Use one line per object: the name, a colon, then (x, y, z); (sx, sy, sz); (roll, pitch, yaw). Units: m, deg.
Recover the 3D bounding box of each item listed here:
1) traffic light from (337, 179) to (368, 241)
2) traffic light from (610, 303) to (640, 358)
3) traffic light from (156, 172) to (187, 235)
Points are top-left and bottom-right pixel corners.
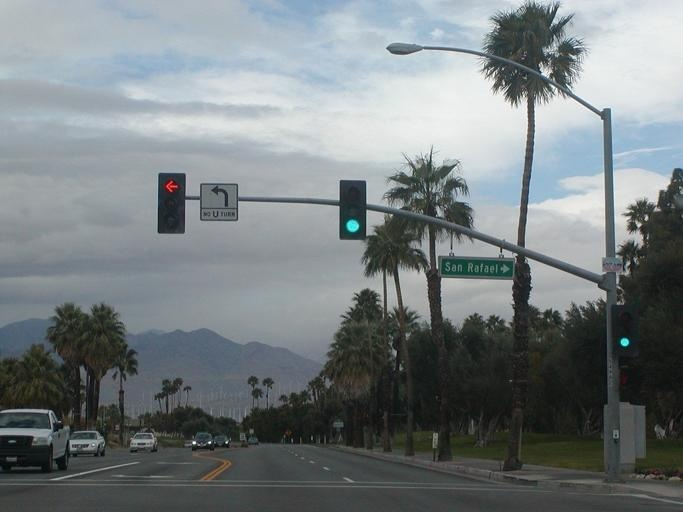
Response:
traffic light: (0.500, -2.047, 51.445); (1.198, 2.688, 0.431); (1, -9, -8)
traffic light: (13.848, 3.652, 54.402); (1.202, 2.927, 0.945); (-1, 22, 14)
traffic light: (-7.684, -2.272, 50.279); (1.137, 2.805, 0.706); (3, -9, -17)
